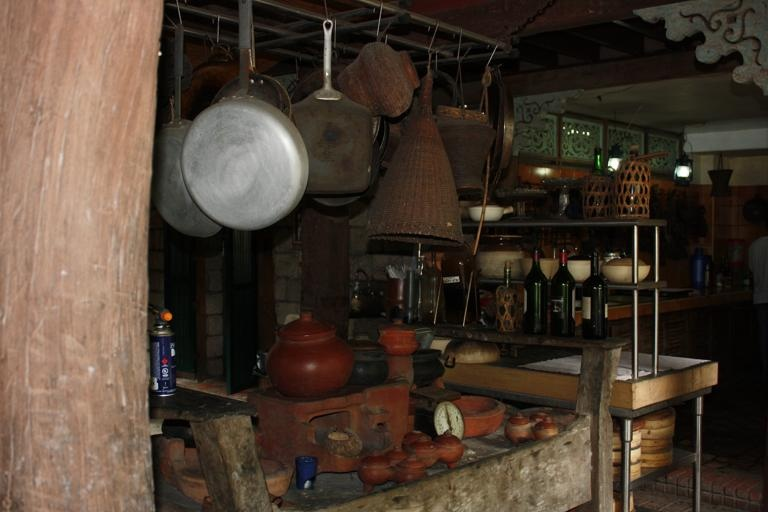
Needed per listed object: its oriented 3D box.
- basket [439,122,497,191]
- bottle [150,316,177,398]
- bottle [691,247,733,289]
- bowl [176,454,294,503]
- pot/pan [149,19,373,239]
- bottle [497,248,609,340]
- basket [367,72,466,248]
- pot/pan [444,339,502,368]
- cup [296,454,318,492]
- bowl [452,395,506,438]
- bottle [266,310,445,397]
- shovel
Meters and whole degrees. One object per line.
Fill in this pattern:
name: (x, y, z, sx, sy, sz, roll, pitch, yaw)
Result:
basket: (0.338, -0.377, 2.850, 0.245, 0.202, 0.266, 2, 1, 19)
bottle: (-0.802, 0.346, 2.613, 0.078, 0.287, 0.116, 0, 3, -19)
bottle: (3.742, 0.145, 8.295, 0.500, 0.379, 0.187, 3, -6, -41)
bowl: (-0.523, 0.754, 2.454, 0.238, 0.078, 0.229, 1, -3, 0)
pot/pan: (-0.356, -0.410, 2.274, 0.655, 0.692, 0.551, 0, 2, -19)
bottle: (0.860, 0.171, 3.465, 0.413, 0.399, 0.305, 2, 2, 22)
basket: (0.129, -0.372, 2.602, 0.356, 0.593, 0.347, 9, 7, 34)
pot/pan: (0.430, 0.470, 3.678, 0.183, 0.083, 0.172, 4, -5, -39)
cup: (-0.271, 0.747, 2.494, 0.114, 0.100, 0.074, 2, -5, -30)
bowl: (0.388, 0.670, 3.056, 0.218, 0.083, 0.210, -6, 16, 2)
bottle: (-0.143, 0.351, 2.722, 0.533, 0.209, 0.283, -1, -1, -29)
shovel: (-0.152, -0.437, 2.282, 0.306, 0.511, 0.080, -2, -3, -13)
